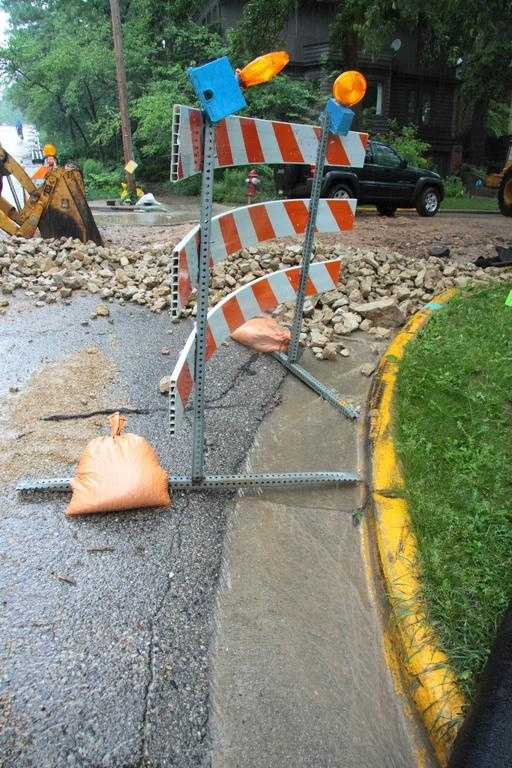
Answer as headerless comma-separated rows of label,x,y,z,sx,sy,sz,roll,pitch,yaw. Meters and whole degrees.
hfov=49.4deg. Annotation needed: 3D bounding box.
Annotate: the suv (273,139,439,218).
suv,2.718,-4.889,13.915,4.724,1.959,1.577,-25,39,-35
